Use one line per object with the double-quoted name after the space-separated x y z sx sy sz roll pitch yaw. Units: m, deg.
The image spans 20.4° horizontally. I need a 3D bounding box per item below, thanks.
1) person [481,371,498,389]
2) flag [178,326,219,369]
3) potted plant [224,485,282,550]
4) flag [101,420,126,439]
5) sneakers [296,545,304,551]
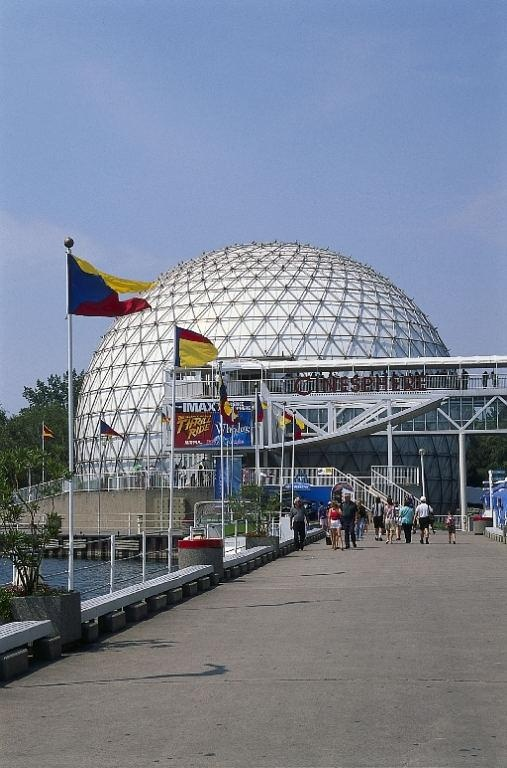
8.844 -0.114 52.859 0.312 0.817 0.679 -1 -2 29 "person"
-1.213 -0.753 29.447 0.754 0.815 1.676 -3 -10 -1 "flag"
-0.015 3.159 33.400 1.190 2.003 1.491 0 -4 32 "potted plant"
-7.512 2.432 76.275 1.330 1.610 0.068 0 -7 -3 "flag"
1.070 3.870 33.150 0.108 0.123 0.118 3 1 16 "sneakers"
